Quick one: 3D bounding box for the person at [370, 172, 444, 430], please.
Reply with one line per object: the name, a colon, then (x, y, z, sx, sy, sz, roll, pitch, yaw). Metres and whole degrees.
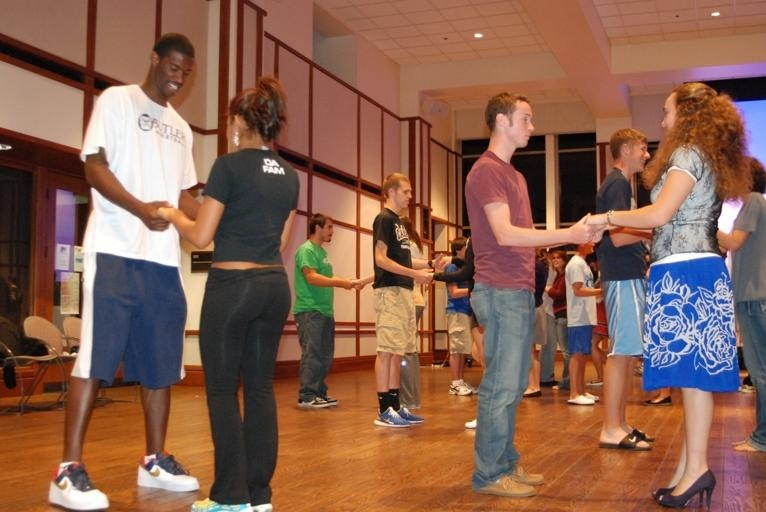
person: (0.160, 0.387, 5.703, 0.507, 2.350, 0.968, -1, -2, 2)

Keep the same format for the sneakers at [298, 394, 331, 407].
sneakers: (-0.748, 1.564, 6.759, 0.303, 0.138, 0.133, -2, -5, 6)

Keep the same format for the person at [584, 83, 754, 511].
person: (1.841, 0.180, 3.767, 0.855, 2.594, 0.427, -1, -2, 7)

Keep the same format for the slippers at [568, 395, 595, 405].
slippers: (2.215, 1.614, 6.958, 0.184, 0.071, 0.115, -4, -3, 20)

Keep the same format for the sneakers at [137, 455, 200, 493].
sneakers: (-1.381, 1.390, 4.063, 0.475, 0.254, 0.171, 3, -2, 11)

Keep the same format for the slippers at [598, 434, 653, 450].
slippers: (1.871, 1.444, 4.767, 0.274, 0.084, 0.154, -3, -5, 15)

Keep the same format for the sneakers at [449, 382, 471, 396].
sneakers: (0.987, 1.679, 7.834, 0.276, 0.132, 0.112, -2, -4, 31)

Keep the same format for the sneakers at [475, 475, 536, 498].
sneakers: (0.781, 1.430, 3.928, 0.346, 0.131, 0.132, -2, -2, 9)

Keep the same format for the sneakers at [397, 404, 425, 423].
sneakers: (0.302, 1.482, 5.850, 0.302, 0.131, 0.115, 2, -1, 16)

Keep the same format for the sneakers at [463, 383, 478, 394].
sneakers: (1.144, 1.708, 8.022, 0.128, 0.154, 0.381, 0, -14, -1)

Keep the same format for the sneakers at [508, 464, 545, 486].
sneakers: (0.934, 1.430, 4.069, 0.250, 0.101, 0.094, 1, 1, 2)

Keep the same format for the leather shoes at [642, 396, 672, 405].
leather shoes: (3.077, 1.620, 6.940, 0.227, 0.082, 0.128, 2, -5, -3)

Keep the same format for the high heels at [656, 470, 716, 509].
high heels: (1.806, 1.364, 3.680, 0.327, 0.224, 0.168, 0, -2, -9)
